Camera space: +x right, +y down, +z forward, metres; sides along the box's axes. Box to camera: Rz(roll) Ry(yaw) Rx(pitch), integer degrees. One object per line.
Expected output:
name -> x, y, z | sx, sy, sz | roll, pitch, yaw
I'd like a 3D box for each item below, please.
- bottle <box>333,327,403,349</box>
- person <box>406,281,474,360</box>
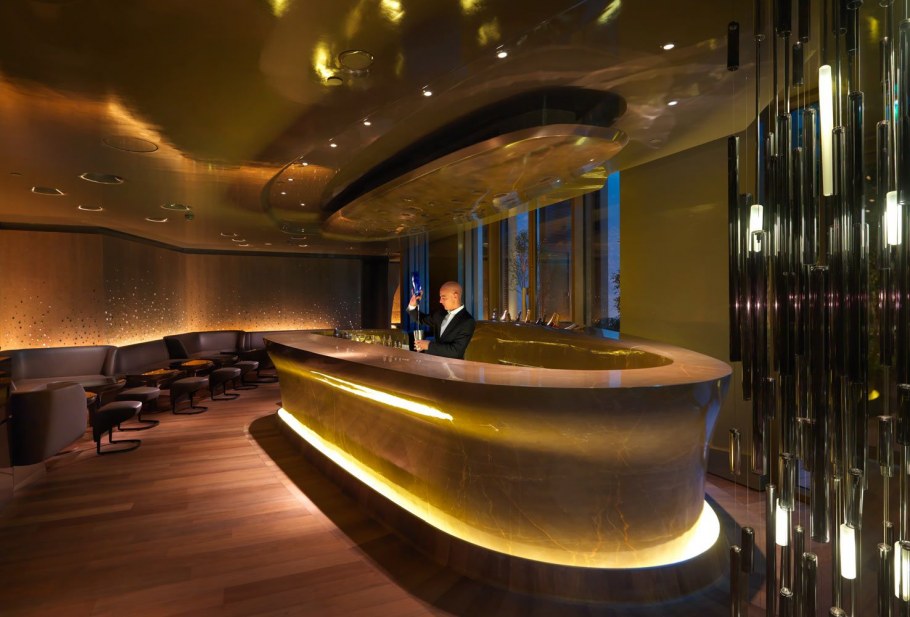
bottle -> -1.024, 0.353, 8.488 | 0.571, 0.307, 0.389 | 4, 1, -6
person -> -0.094, 0.092, 6.227 | 0.534, 0.724, 0.797 | -1, 0, 10
